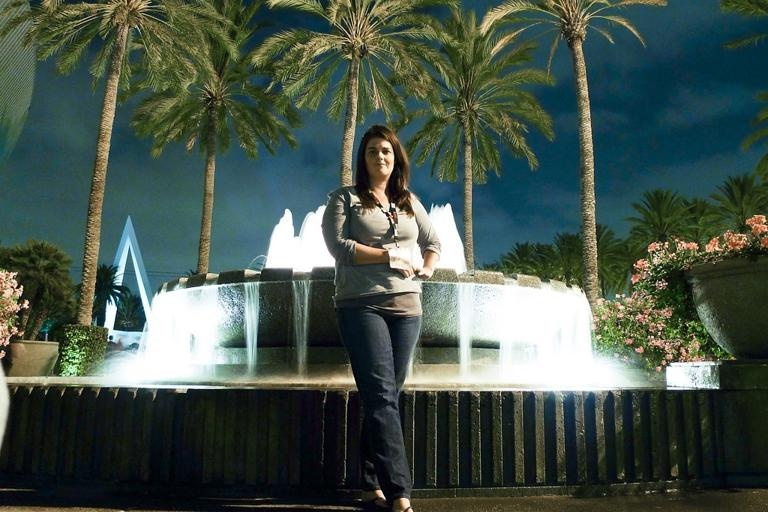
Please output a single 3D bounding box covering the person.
[{"bbox_3d":[-0.032,0.451,5.335,0.959,3.077,0.365,1,-12,-7],"label":"person"}]
